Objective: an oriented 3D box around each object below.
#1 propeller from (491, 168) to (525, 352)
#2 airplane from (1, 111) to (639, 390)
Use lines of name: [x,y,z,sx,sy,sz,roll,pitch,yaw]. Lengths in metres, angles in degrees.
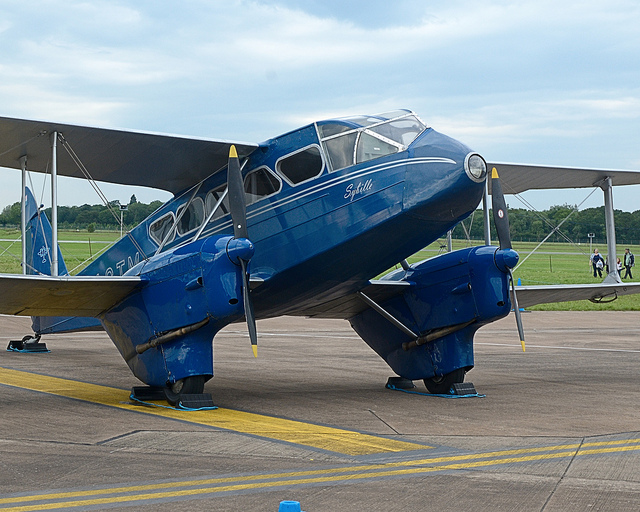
propeller: [4.381,0.193,15.685,0.877,5.371,0.667,-2,17,19]
airplane: [-1.642,-0.265,13.242,10.509,2.484,8.444,2,-6,-34]
